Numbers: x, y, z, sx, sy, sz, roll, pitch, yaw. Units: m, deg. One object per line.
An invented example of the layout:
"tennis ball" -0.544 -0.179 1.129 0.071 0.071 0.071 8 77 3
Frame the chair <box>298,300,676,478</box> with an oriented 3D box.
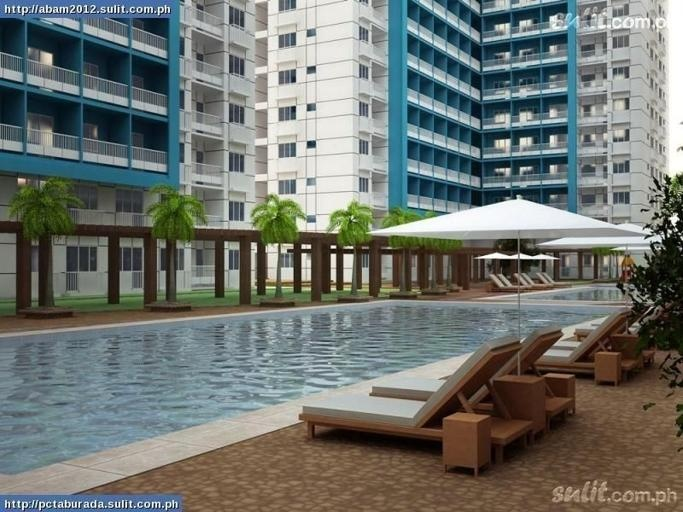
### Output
"chair" 1.196 1.494 6.820 2.357 1.210 2.534 -2 -2 33
